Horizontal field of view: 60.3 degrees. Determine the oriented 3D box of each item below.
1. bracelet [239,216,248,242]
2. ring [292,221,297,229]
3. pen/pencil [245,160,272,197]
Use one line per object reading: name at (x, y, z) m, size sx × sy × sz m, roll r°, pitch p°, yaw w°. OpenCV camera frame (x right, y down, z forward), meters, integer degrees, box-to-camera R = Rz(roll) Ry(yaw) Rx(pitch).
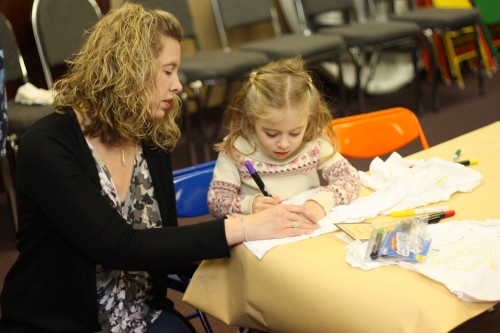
bracelet at (-0.016, 0.182, 1.232) m, size 0.012 × 0.051 × 0.039 m, roll -12°, pitch 1°, yaw 6°
ring at (0.134, 0.171, 1.256) m, size 0.011 × 0.007 × 0.016 m, roll 2°, pitch 42°, yaw -12°
pen/pencil at (0.033, 0.037, 1.492) m, size 0.020 × 0.133 × 0.020 m, roll -33°, pitch 4°, yaw 16°
